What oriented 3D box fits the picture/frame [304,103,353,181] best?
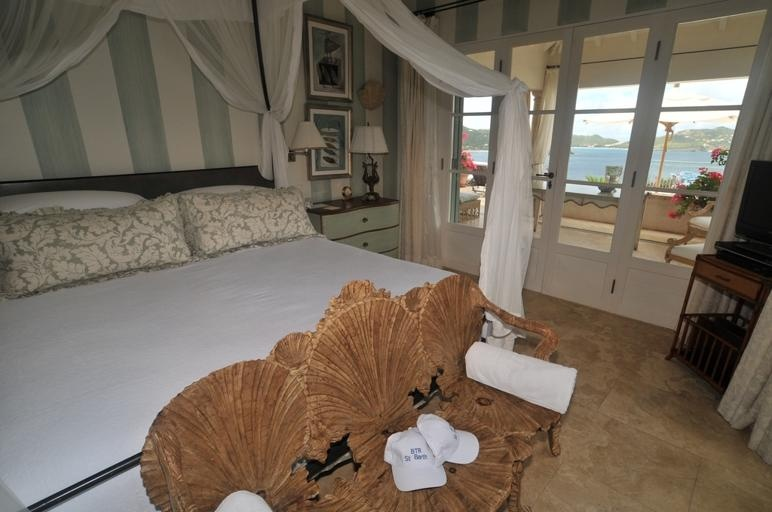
[{"bbox_3d":[-0.649,-1.276,4.915,0.053,0.876,0.686,18,26,36],"label":"picture/frame"}]

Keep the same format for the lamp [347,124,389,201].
[{"bbox_3d":[-0.234,-1.102,5.215,0.507,1.003,0.515,-9,26,-14],"label":"lamp"}]

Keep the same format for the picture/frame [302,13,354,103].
[{"bbox_3d":[-0.638,-2.122,4.758,0.848,1.055,0.062,-18,28,-38],"label":"picture/frame"}]

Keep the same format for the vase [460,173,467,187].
[{"bbox_3d":[0.901,-0.874,5.218,0.093,0.103,0.118,2,14,13],"label":"vase"}]

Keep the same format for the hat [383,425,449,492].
[{"bbox_3d":[0.156,1.079,2.402,0.321,0.213,0.222,-1,17,-2],"label":"hat"}]

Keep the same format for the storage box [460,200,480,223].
[{"bbox_3d":[0.976,-0.523,5.255,0.311,0.219,0.183,2,26,39],"label":"storage box"}]

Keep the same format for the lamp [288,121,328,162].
[{"bbox_3d":[-0.813,-1.154,4.600,0.364,0.359,0.376,-20,22,-35],"label":"lamp"}]
